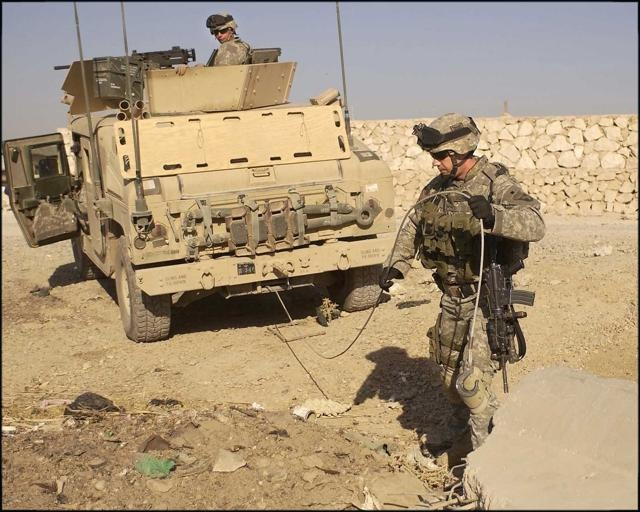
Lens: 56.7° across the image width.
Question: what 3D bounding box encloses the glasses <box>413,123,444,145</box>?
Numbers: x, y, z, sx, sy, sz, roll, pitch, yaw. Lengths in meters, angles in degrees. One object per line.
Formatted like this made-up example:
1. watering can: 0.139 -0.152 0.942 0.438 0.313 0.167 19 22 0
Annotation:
1. glasses: 0.802 -0.885 4.395 0.081 0.158 0.202 18 14 -47

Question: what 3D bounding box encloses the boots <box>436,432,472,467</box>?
1. boots: 1.069 1.501 4.583 0.164 0.083 0.330 -1 16 35

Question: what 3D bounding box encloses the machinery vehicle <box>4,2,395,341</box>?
1. machinery vehicle: -1.979 -0.973 8.391 3.886 2.907 4.639 -3 5 -25

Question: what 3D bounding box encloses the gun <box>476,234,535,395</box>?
1. gun: 1.316 0.422 4.500 0.442 1.164 0.519 -8 -6 5

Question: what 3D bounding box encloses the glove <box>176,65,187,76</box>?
1. glove: -1.612 -2.166 6.900 0.127 0.119 0.087 1 8 -15

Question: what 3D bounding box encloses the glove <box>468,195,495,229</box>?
1. glove: 1.055 -0.301 3.976 0.166 0.225 0.077 -8 -18 -30
